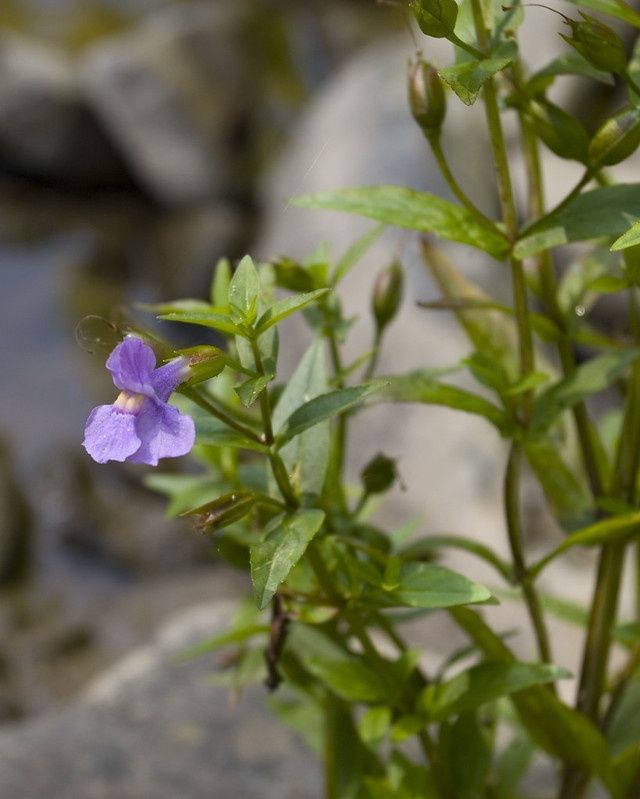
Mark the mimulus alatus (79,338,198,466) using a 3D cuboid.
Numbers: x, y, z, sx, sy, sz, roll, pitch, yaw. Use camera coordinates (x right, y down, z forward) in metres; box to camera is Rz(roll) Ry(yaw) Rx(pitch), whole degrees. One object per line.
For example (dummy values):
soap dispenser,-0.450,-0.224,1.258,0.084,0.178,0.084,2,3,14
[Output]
mimulus alatus,-0.089,0.000,0.395,0.058,0.052,0.061,-10,40,-7
